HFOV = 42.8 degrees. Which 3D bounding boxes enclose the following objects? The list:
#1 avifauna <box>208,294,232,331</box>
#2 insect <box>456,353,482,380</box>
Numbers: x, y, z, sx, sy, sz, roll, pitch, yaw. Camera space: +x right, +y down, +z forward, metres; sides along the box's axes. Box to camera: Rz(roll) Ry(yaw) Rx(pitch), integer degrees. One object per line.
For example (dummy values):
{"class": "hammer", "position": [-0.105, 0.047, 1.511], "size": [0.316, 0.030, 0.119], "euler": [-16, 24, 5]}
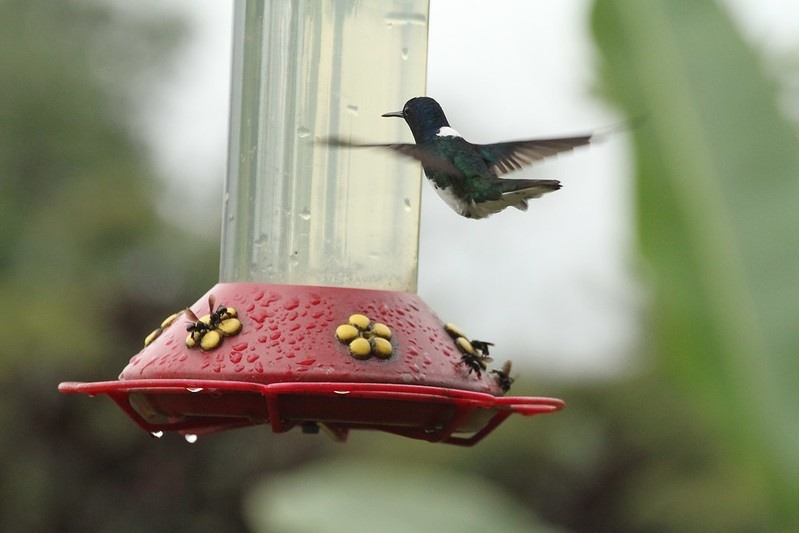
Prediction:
{"class": "avifauna", "position": [-0.681, 0.176, 3.912], "size": [0.098, 0.061, 0.118], "euler": [3, 46, -8]}
{"class": "insect", "position": [0.269, 0.386, 3.968], "size": [0.035, 0.075, 0.088], "euler": [-9, 68, -57]}
